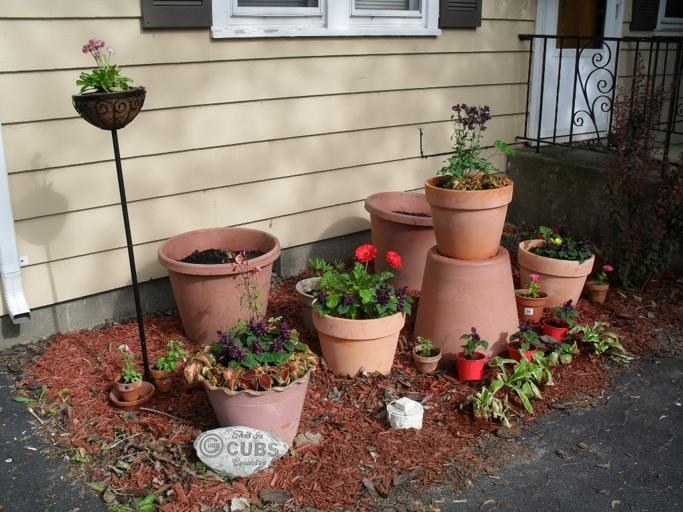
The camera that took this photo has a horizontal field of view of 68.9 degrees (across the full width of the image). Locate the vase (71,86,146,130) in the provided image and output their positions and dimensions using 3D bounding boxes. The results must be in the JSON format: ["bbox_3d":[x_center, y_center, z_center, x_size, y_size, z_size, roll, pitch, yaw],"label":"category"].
[{"bbox_3d":[-1.285,-0.795,2.752,0.304,0.188,0.303,-7,20,-6],"label":"vase"}]

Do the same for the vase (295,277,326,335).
[{"bbox_3d":[-0.201,0.368,3.699,0.341,0.261,0.342,-1,11,2],"label":"vase"}]

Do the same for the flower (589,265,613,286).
[{"bbox_3d":[2.243,0.176,4.296,0.157,0.211,0.133,-1,18,-10],"label":"flower"}]

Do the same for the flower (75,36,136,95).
[{"bbox_3d":[-1.336,-1.051,2.754,0.252,0.256,0.255,-5,21,0],"label":"flower"}]

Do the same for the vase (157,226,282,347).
[{"bbox_3d":[-0.918,0.215,3.718,0.899,0.679,0.906,15,24,32],"label":"vase"}]

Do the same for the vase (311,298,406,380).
[{"bbox_3d":[0.109,0.556,3.128,0.502,0.348,0.501,-1,8,-7],"label":"vase"}]
